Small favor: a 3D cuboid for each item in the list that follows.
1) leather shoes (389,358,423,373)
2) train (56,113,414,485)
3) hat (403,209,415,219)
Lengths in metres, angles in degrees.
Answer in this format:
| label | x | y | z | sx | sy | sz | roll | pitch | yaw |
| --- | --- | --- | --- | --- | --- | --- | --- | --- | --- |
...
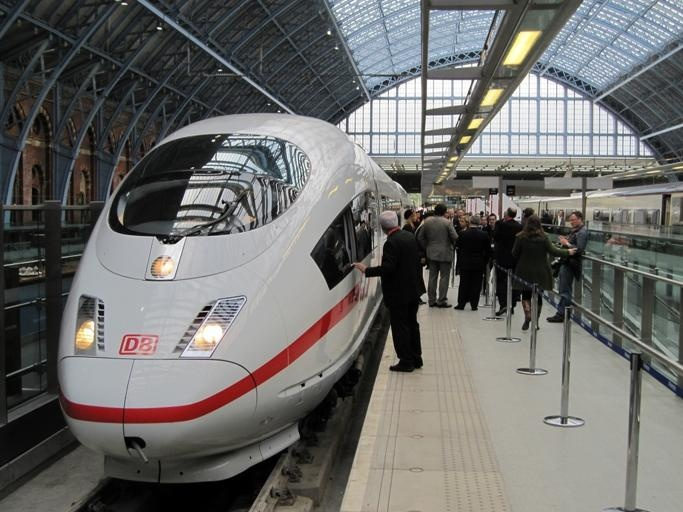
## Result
| label | x | y | z | sx | sy | sz | roll | pitch | yaw |
| --- | --- | --- | --- | --- | --- | --- | --- | --- | --- |
| leather shoes | 0.919 | 1.602 | 7.225 | 0.518 | 0.235 | 0.182 | 2 | 2 | 8 |
| train | -1.022 | 0.173 | 4.952 | 1.579 | 3.686 | 3.162 | 3 | 5 | 37 |
| hat | 1.323 | -0.833 | 9.766 | 0.206 | 0.226 | 0.170 | 13 | 7 | -28 |
